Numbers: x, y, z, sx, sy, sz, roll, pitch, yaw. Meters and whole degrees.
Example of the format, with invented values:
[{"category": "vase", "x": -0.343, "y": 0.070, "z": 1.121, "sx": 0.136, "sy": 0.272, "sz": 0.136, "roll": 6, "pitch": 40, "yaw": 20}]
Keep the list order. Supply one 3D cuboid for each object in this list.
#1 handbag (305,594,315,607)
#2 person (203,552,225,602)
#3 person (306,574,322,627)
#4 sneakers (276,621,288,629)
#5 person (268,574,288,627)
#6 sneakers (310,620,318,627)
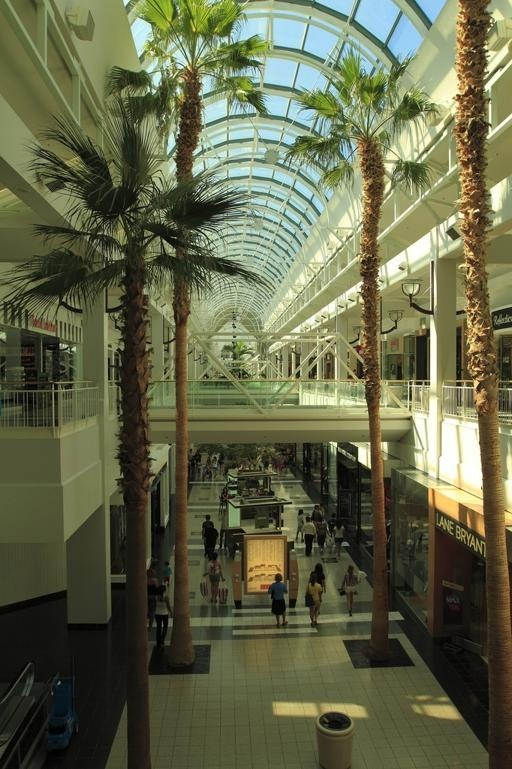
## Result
[{"category": "handbag", "x": 1.200, "y": 4.597, "z": 11.628, "sx": 0.091, "sy": 0.301, "sz": 0.246, "roll": 9, "pitch": -17, "yaw": -39}, {"category": "person", "x": -0.994, "y": 4.462, "z": 12.668, "sx": 0.405, "sy": 1.239, "sz": 0.275, "roll": 4, "pitch": 11, "yaw": 14}, {"category": "person", "x": 1.249, "y": 4.556, "z": 11.629, "sx": 0.334, "sy": 0.958, "sz": 0.697, "roll": -1, "pitch": -4, "yaw": 8}, {"category": "sneakers", "x": 0.543, "y": 5.047, "z": 11.424, "sx": 0.172, "sy": 0.113, "sz": 0.283, "roll": 4, "pitch": -5, "yaw": -14}, {"category": "person", "x": 0.490, "y": 4.470, "z": 11.410, "sx": 0.374, "sy": 1.191, "sz": 0.367, "roll": -8, "pitch": 19, "yaw": -13}, {"category": "sneakers", "x": 1.210, "y": 4.969, "z": 11.322, "sx": 0.096, "sy": 0.118, "sz": 0.191, "roll": -2, "pitch": -10, "yaw": 4}]
